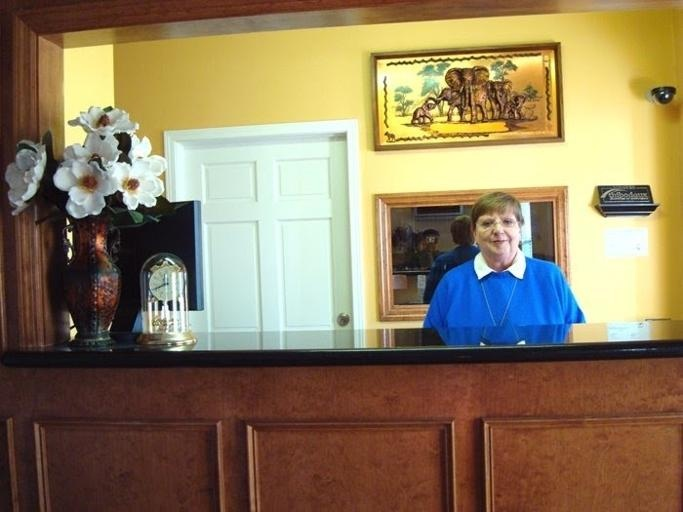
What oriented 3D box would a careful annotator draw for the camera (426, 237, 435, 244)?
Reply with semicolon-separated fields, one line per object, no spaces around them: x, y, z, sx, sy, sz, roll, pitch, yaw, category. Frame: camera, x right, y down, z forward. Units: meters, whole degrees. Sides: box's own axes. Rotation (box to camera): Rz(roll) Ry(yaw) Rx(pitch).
0.476;-0.083;4.879;0.031;0.027;0.026;2;1;17;camera

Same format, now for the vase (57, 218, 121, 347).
-0.873;0.091;3.254;0.184;0.404;0.157;1;0;-31;vase

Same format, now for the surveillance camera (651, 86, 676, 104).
1.636;-0.812;4.685;0.089;0.077;0.101;-1;1;4;surveillance camera

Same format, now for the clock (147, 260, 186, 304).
-0.614;0.097;3.227;0.142;0.206;0.021;1;-9;-20;clock
